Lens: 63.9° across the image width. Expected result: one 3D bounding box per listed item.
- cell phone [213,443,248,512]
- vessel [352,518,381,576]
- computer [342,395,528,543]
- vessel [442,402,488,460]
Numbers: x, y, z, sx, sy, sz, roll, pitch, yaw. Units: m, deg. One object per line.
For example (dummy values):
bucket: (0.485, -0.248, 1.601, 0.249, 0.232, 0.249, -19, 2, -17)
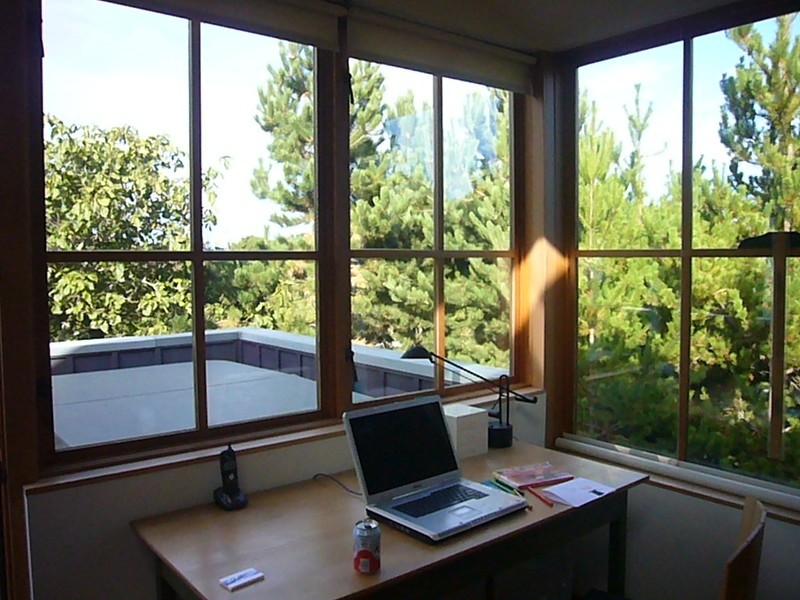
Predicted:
cell phone: (-0.746, 0.790, 2.835, 0.146, 0.254, 0.160, 2, 9, 20)
vessel: (-0.123, 0.904, 2.361, 0.103, 0.173, 0.104, -1, 14, -4)
computer: (0.097, 0.739, 2.795, 0.573, 0.421, 0.543, -2, 4, -44)
vessel: (0.313, 0.741, 3.461, 0.336, 0.266, 0.358, -4, -3, 7)
